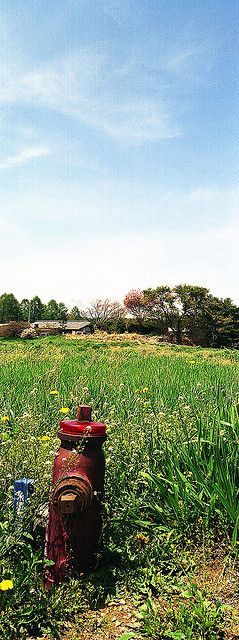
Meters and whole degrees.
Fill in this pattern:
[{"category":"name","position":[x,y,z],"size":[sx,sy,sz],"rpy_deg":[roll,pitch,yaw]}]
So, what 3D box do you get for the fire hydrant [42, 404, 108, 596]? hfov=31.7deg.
[{"category":"fire hydrant","position":[-0.278,1.122,2.635],"size":[0.413,1.123,0.446],"rpy_deg":[-1,1,-14]}]
